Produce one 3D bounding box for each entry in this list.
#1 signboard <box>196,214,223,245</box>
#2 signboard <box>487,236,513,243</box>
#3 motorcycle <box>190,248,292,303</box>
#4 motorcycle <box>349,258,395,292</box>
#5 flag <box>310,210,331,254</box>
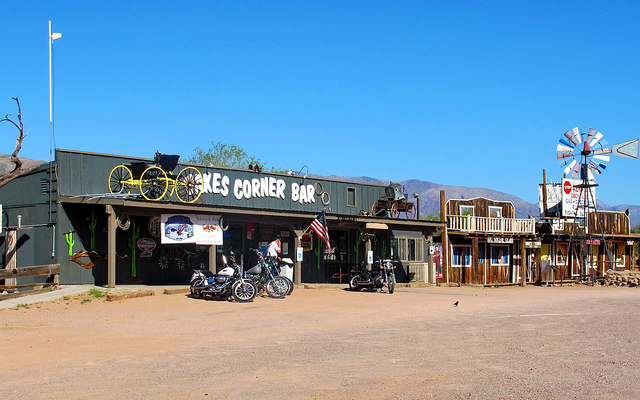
[{"bbox_3d":[-4.777,1.334,28.692,0.121,1.251,1.189,-13,-13,42],"label":"signboard"},{"bbox_3d":[11.219,2.520,41.690,2.129,0.426,0.210,0,2,-30],"label":"signboard"},{"bbox_3d":[-2.980,2.881,25.214,3.621,1.870,1.777,0,2,-14],"label":"motorcycle"},{"bbox_3d":[2.491,3.433,30.403,1.211,1.628,2.719,17,-16,-42],"label":"motorcycle"},{"bbox_3d":[0.033,1.378,29.417,0.775,1.620,1.753,0,2,0],"label":"flag"}]
